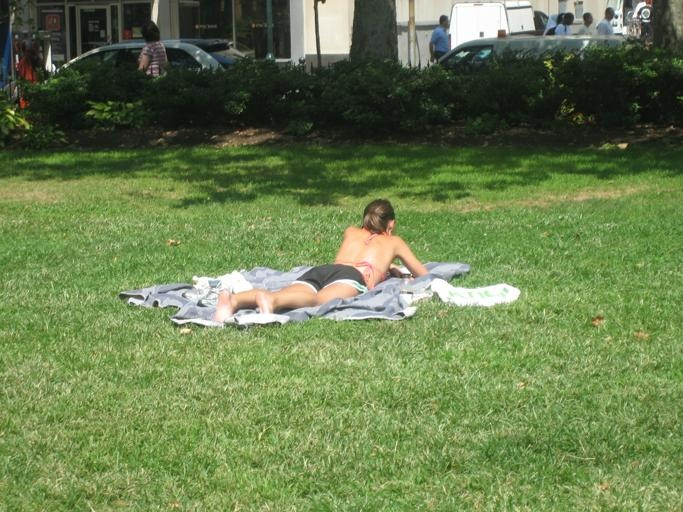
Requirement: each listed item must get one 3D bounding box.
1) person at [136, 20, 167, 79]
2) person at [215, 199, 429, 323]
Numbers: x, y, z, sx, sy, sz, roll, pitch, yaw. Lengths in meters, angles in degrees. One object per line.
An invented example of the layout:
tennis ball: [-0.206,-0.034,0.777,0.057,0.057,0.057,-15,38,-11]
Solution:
person: [-3.620,-3.998,23.249,0.559,1.028,1.596,-2,8,-9]
person: [-0.175,0.220,13.961,1.114,1.025,2.704,20,31,39]
